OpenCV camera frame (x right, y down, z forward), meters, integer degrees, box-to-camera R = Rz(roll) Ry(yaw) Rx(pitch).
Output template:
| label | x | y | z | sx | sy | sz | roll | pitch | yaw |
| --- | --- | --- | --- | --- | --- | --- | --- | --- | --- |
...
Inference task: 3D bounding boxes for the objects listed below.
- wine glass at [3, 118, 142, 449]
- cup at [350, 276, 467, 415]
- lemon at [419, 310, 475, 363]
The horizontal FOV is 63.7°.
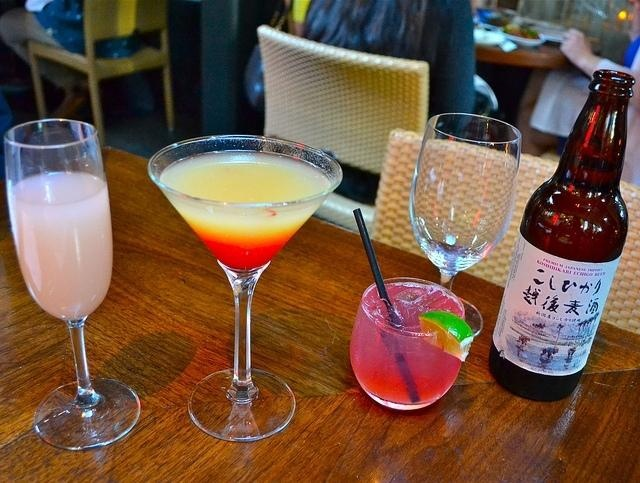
| label | x | y | z | sx | sy | sz | roll | pitch | yaw |
| --- | --- | --- | --- | --- | --- | --- | --- | --- | --- |
| wine glass | -0.301 | 0.042 | 0.603 | 0.126 | 0.319 | 0.242 | -10 | 34 | -21 |
| cup | 0.101 | 0.137 | 0.723 | 0.162 | 0.134 | 0.159 | 3 | 21 | -1 |
| lemon | 0.150 | 0.113 | 0.623 | 0.065 | 0.022 | 0.047 | 37 | 77 | 24 |
